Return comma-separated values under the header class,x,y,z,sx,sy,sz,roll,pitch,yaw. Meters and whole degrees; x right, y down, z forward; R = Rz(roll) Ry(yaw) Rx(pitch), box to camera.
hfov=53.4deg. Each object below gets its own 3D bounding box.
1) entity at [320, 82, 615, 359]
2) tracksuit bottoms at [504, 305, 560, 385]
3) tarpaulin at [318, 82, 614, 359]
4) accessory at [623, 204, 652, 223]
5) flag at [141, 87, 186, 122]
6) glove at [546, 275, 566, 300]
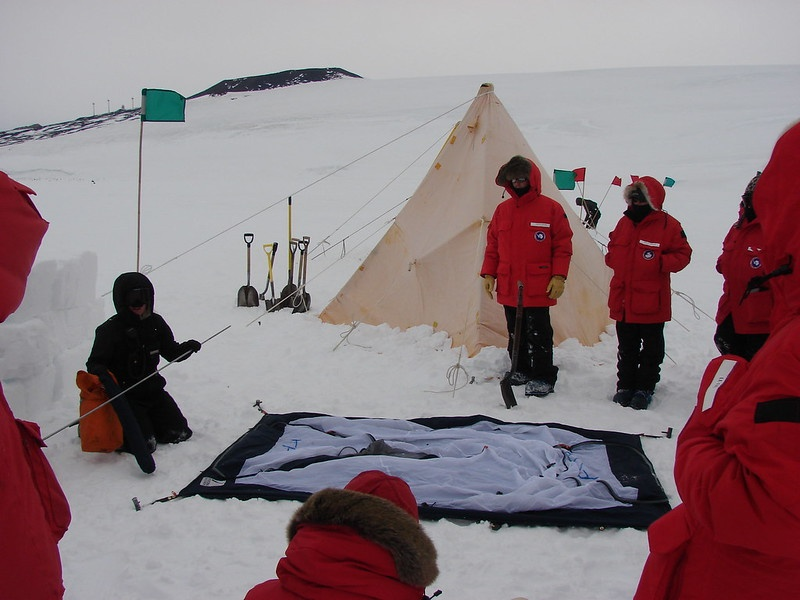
class,x,y,z,sx,sy,sz,roll,pitch,yaw
entity,0.844,-0.953,8.418,2.919,2.530,2.650,6,10,33
tracksuit bottoms,1.106,0.334,6.625,0.272,0.867,0.371,-2,17,-30
tarpaulin,0.890,-1.141,8.105,2.074,2.004,2.449,-1,35,3
accessory,1.836,-0.679,6.164,0.136,0.149,0.179,-7,26,-22
flag,-1.818,-1.488,6.072,0.316,0.261,0.350,0,9,-18
glove,1.251,-0.094,6.475,0.145,0.169,0.185,-11,0,4
